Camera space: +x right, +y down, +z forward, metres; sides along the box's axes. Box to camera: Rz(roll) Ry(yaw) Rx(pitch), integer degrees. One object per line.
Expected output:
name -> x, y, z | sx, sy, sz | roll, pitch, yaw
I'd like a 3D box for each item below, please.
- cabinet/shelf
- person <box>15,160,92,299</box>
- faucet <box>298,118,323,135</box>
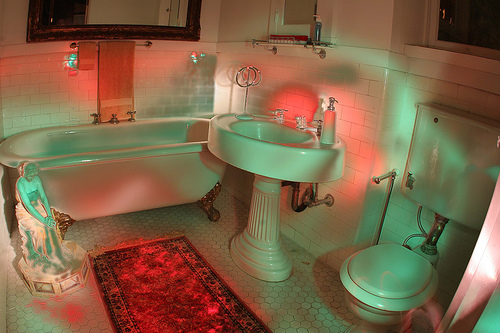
cabinet/shelf -> 0.351, -1.089, 2.873 | 0.335, 0.197, 0.875 | -11, 24, -27
person -> -1.571, 0.476, 2.413 | 0.485, 1.031, 0.347 | -12, 25, -29
faucet -> 0.513, -0.332, 2.644 | 0.138, 0.064, 0.196 | -11, 19, -35
